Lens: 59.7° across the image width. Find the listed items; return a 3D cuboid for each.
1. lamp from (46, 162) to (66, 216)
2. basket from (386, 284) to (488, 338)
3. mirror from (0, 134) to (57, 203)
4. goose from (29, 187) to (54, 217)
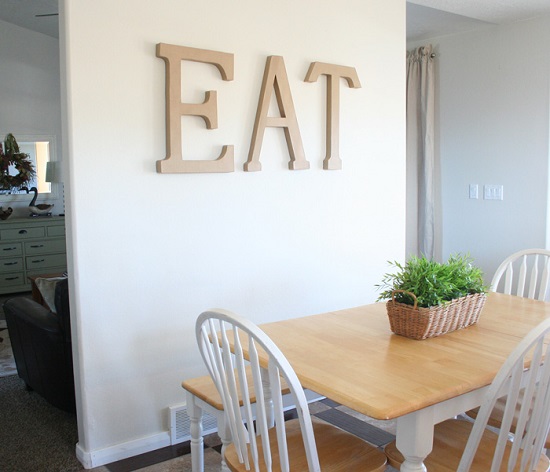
[{"bbox_3d":[-2.841,-0.603,6.198,0.197,0.739,0.846,-5,9,-24],"label":"lamp"},{"bbox_3d":[0.612,0.267,1.856,0.354,0.157,0.187,-6,8,-37],"label":"basket"},{"bbox_3d":[-3.213,-0.905,6.197,0.945,1.040,0.082,-2,3,-37],"label":"mirror"},{"bbox_3d":[-3.137,-0.431,6.354,0.381,0.380,0.262,1,-1,-36],"label":"goose"}]
